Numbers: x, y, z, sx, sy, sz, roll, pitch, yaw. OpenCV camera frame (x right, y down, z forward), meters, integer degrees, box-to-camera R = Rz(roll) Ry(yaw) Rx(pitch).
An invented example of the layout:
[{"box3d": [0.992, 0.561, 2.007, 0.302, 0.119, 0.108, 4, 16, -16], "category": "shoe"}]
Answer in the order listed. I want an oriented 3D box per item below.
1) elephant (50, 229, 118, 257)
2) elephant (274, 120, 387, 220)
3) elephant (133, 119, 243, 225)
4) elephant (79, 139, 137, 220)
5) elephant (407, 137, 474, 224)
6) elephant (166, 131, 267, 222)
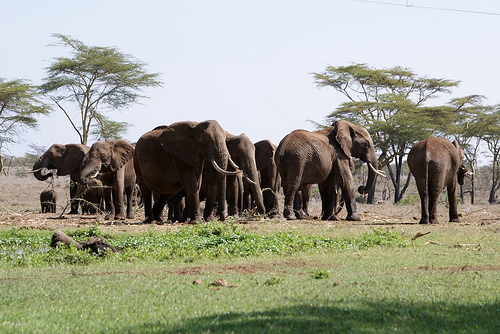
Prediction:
[{"box3d": [-4.174, 1.816, 14.457, 1.804, 0.570, 0.781, -5, -8, 28], "category": "elephant"}, {"box3d": [3.048, 0.148, 22.685, 4.854, 3.676, 2.007, 1, -6, -21], "category": "elephant"}, {"box3d": [-2.217, 0.239, 19.999, 4.193, 3.409, 2.401, -6, -4, 35], "category": "elephant"}, {"box3d": [-5.446, 0.527, 23.319, 1.859, 3.069, 4.086, -3, -4, 14], "category": "elephant"}, {"box3d": [7.013, 0.501, 21.895, 1.808, 3.088, 5.461, -1, -4, 28], "category": "elephant"}, {"box3d": [-1.697, 0.414, 21.744, 4.031, 2.404, 2.385, -12, -12, 33], "category": "elephant"}]
